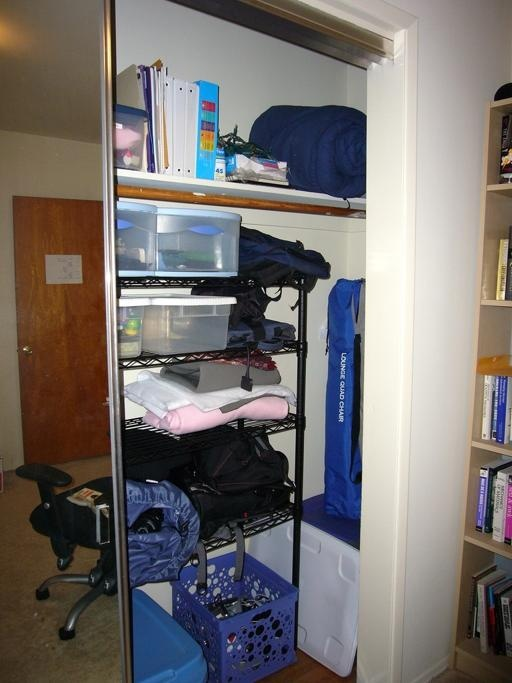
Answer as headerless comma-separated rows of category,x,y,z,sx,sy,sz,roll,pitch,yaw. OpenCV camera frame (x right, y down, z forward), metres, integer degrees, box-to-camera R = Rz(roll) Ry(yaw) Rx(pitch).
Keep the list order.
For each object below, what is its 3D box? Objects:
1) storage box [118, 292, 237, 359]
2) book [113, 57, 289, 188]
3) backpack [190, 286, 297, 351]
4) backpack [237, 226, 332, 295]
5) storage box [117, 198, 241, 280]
storage box,-0.228,-0.049,1.452,0.182,0.111,0.252,-3,6,-29
book,-0.145,-0.522,1.477,0.467,0.158,0.340,-6,12,-41
backpack,-0.017,-0.091,1.712,0.263,0.099,0.206,-5,15,-29
backpack,0.092,-0.262,1.765,0.235,0.105,0.236,-4,24,-41
storage box,-0.208,-0.261,1.425,0.224,0.188,0.367,14,18,41
